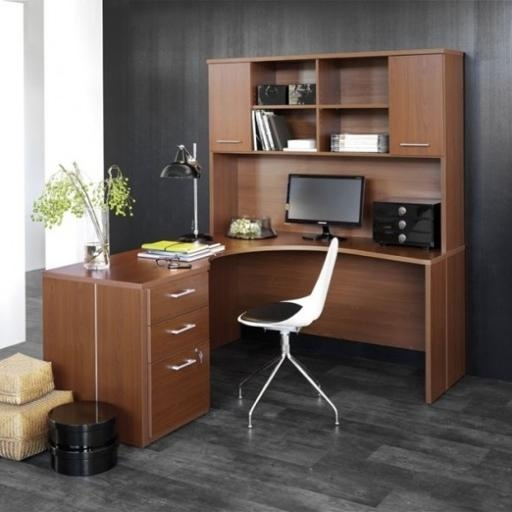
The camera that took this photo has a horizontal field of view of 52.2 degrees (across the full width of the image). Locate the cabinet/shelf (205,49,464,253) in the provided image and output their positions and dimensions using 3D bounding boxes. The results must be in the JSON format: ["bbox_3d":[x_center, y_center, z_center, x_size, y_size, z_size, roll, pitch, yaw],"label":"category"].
[{"bbox_3d":[0.550,-0.697,3.402,1.512,1.064,0.390,4,13,26],"label":"cabinet/shelf"}]

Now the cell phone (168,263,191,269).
[{"bbox_3d":[-0.391,0.052,2.689,0.141,0.025,0.132,1,5,14],"label":"cell phone"}]

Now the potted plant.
[{"bbox_3d":[-0.861,-0.202,2.725,0.531,0.496,0.461,-8,-2,-25],"label":"potted plant"}]

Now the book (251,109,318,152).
[{"bbox_3d":[0.170,-0.840,3.569,0.302,0.398,0.122,-8,6,-39],"label":"book"}]

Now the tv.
[{"bbox_3d":[0.486,-0.333,3.564,0.497,0.368,0.179,5,6,30],"label":"tv"}]
